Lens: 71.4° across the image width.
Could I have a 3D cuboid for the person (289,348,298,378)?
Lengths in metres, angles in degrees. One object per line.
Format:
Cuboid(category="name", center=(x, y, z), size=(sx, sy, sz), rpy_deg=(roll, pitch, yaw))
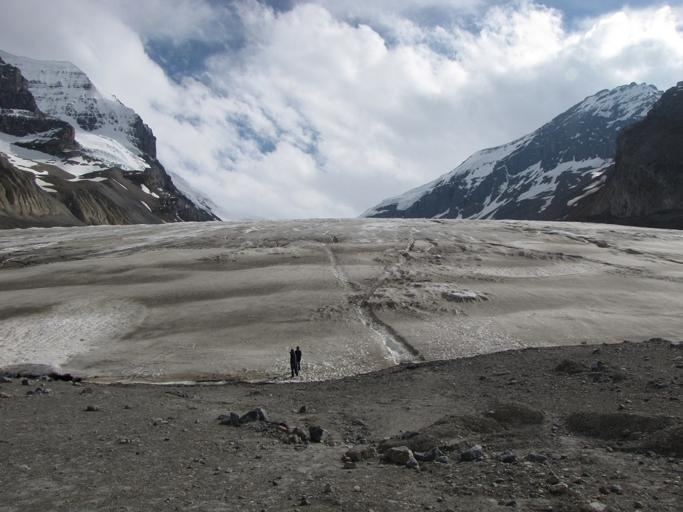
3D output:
Cuboid(category="person", center=(-2.448, 5.459, 24.113), size=(0.360, 1.286, 0.623), rpy_deg=(-4, 4, -5))
